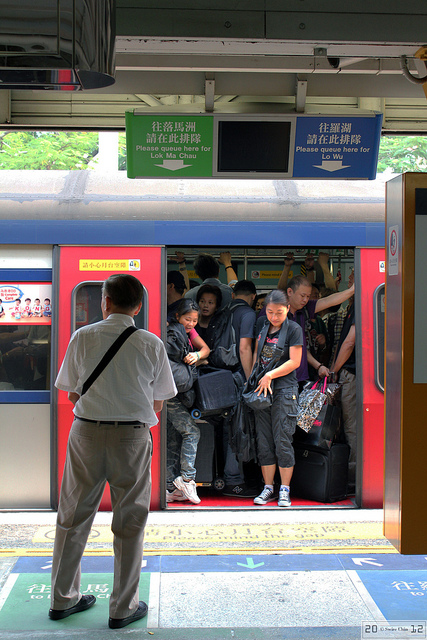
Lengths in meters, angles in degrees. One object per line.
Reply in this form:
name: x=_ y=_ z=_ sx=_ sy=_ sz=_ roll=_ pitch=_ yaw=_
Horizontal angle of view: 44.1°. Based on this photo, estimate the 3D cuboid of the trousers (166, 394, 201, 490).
trousers: x=-0.319 y=1.235 z=5.325 sx=0.329 sy=0.940 sz=0.292 roll=1 pitch=-4 yaw=-1

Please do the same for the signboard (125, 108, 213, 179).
signboard: x=-0.303 y=-1.457 z=4.454 sx=0.838 sy=0.544 sz=0.469 roll=3 pitch=17 yaw=8

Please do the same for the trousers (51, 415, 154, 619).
trousers: x=-0.636 y=1.084 z=2.909 sx=0.557 sy=1.081 sz=0.323 roll=1 pitch=-4 yaw=1

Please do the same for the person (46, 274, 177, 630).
person: x=-0.567 y=0.708 z=2.946 sx=0.687 sy=1.933 sz=0.367 roll=1 pitch=-4 yaw=-5

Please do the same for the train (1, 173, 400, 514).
train: x=-0.155 y=0.216 z=4.733 sx=3.535 sy=2.353 sz=1.094 roll=1 pitch=10 yaw=-2

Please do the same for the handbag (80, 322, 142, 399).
handbag: x=-0.559 y=0.238 z=2.849 sx=0.067 sy=0.496 sz=0.071 roll=45 pitch=-13 yaw=-1

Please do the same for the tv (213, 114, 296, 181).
tv: x=0.322 y=-1.416 z=4.252 sx=0.502 sy=0.342 sz=0.052 roll=0 pitch=16 yaw=1

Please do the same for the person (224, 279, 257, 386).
person: x=0.283 y=0.174 z=5.662 sx=0.424 sy=1.349 sz=0.493 roll=1 pitch=-35 yaw=4

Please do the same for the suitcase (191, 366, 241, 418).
suitcase: x=0.008 y=0.650 z=5.442 sx=0.366 sy=0.424 sz=0.453 roll=-17 pitch=22 yaw=-11

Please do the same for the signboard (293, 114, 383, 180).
signboard: x=0.988 y=-1.418 z=4.276 sx=0.560 sy=0.388 sz=0.071 roll=0 pitch=13 yaw=-1

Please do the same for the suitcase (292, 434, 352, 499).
suitcase: x=1.080 y=1.567 z=5.547 sx=0.336 sy=0.538 sz=0.592 roll=7 pitch=-11 yaw=-33
